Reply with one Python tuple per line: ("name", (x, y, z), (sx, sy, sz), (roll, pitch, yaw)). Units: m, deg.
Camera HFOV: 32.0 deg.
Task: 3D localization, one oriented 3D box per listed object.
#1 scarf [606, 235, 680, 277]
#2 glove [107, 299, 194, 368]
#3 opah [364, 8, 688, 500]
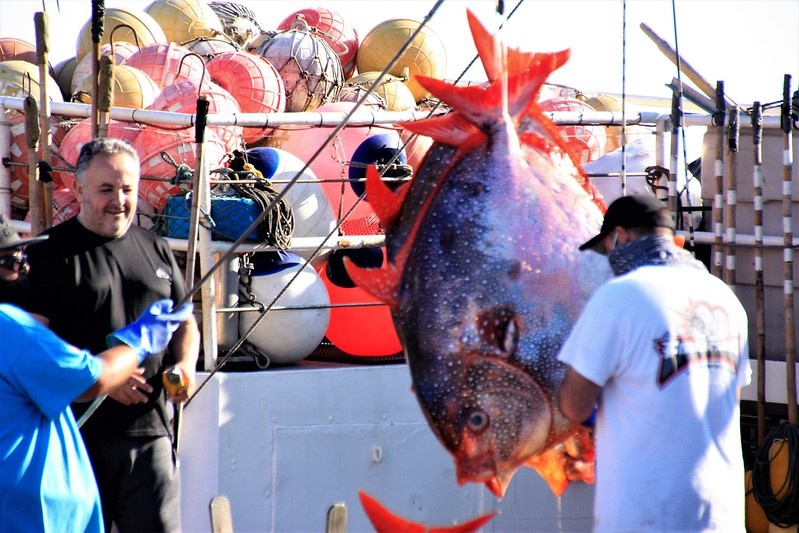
("scarf", (1.217, -0.070, 7.075), (0.267, 0.143, 0.209), (-20, 5, 15))
("glove", (-1.277, 0.288, 7.202), (0.249, 0.441, 0.184), (36, -28, 16))
("opah", (0.383, -0.137, 7.638), (1.473, 2.813, 0.642), (27, -30, -34))
